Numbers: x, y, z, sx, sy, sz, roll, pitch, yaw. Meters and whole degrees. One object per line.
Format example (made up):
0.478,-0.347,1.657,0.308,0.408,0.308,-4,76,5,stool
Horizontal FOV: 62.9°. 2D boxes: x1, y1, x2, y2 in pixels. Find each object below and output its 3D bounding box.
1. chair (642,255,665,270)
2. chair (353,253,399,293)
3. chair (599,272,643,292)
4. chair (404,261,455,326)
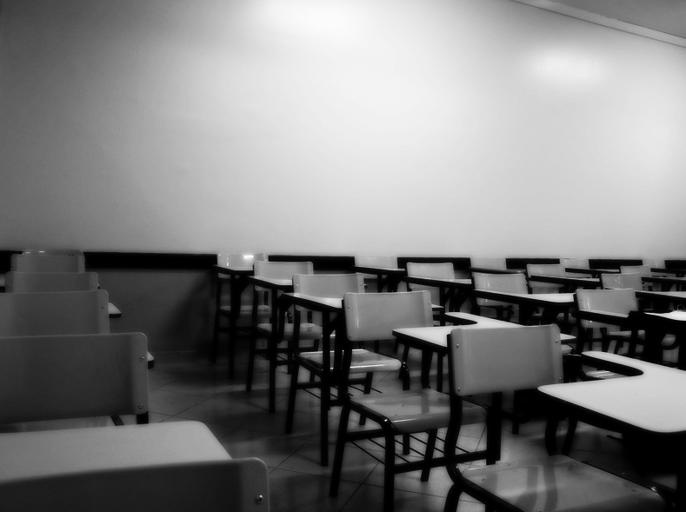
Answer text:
3.923,0.085,7.101,0.188,0.217,0.177,0,2,8,chair
0.360,0.178,5.467,0.403,0.443,0.371,2,-2,-21,chair
2.288,0.211,4.627,0.212,0.257,0.226,0,-6,2,chair
0.829,0.325,5.315,0.551,0.705,0.529,1,-5,-11,chair
